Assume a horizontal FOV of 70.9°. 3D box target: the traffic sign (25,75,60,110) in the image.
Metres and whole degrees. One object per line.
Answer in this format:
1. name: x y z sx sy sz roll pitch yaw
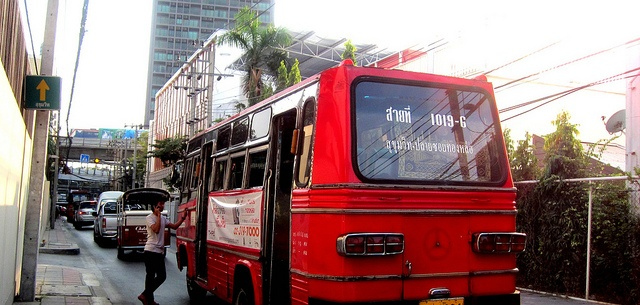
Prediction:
1. traffic sign: -8.979 -1.957 14.590 1.355 1.142 0.141 3 3 9

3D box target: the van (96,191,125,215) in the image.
1. van: -14.252 3.676 30.624 2.280 1.567 3.154 2 0 -23
